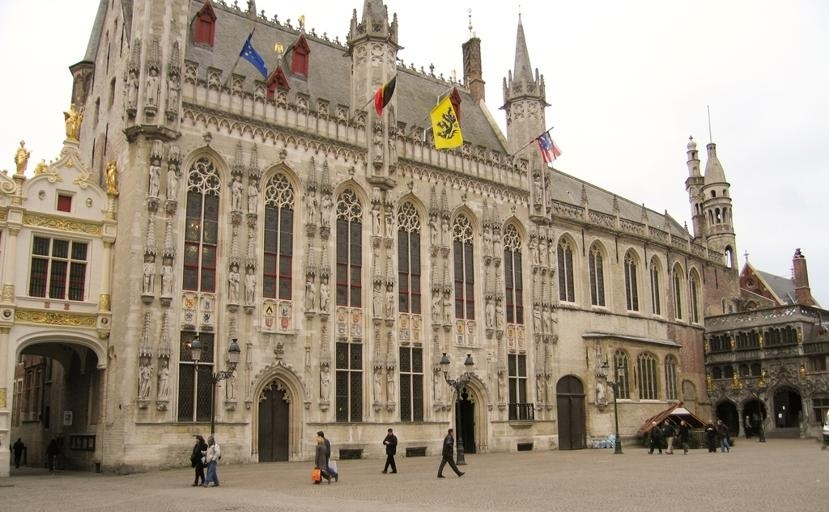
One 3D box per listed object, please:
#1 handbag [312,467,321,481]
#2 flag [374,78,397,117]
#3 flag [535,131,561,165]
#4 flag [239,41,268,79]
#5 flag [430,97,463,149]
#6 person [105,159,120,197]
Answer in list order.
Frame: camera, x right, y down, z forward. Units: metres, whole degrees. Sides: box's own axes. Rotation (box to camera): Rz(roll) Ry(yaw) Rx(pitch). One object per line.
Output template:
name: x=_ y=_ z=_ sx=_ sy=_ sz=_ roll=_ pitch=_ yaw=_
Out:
handbag: x=-4.837 y=10.736 z=41.134 sx=0.445 sy=0.730 sz=0.309 roll=-2 pitch=-15 yaw=6
flag: x=-2.052 y=-10.741 z=56.563 sx=0.254 sy=2.009 sz=2.336 roll=24 pitch=11 yaw=-30
flag: x=9.922 y=-8.220 z=62.346 sx=1.516 sy=3.533 sz=0.251 roll=-15 pitch=-40 yaw=9
flag: x=-10.213 y=-12.596 z=54.090 sx=2.264 sy=0.309 sz=2.834 roll=6 pitch=-29 yaw=-29
flag: x=2.060 y=-9.083 z=57.968 sx=1.488 sy=3.076 sz=1.996 roll=-7 pitch=-17 yaw=23
person: x=-18.407 y=-4.794 z=51.032 sx=0.513 sy=2.335 sz=0.703 roll=-15 pitch=-21 yaw=42
